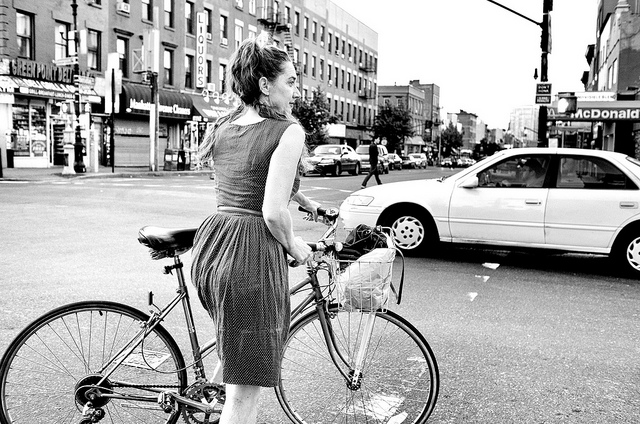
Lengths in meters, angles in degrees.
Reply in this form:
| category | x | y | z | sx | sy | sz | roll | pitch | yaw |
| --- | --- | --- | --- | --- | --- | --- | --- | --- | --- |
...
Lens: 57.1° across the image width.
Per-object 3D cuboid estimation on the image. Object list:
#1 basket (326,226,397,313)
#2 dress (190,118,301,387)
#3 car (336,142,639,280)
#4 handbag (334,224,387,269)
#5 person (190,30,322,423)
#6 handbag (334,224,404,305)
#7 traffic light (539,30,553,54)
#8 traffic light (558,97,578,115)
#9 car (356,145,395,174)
| category | x | y | z | sx | sy | sz | roll | pitch | yaw |
| --- | --- | --- | --- | --- | --- | --- | --- | --- | --- |
| basket | 0.239 | 0.357 | 4.100 | 0.522 | 0.761 | 0.498 | 0 | 0 | -4 |
| dress | -0.492 | 0.232 | 3.630 | 0.623 | 1.615 | 0.362 | 1 | 8 | 1 |
| car | 2.681 | -0.127 | 10.450 | 5.042 | 1.933 | 2.205 | 5 | 6 | 16 |
| handbag | 0.264 | 0.216 | 3.969 | 0.316 | 0.226 | 0.257 | -18 | 25 | 2 |
| person | -0.430 | 0.081 | 3.668 | 0.746 | 2.366 | 0.522 | 1 | 8 | -2 |
| handbag | 0.290 | 0.335 | 3.973 | 0.520 | 0.578 | 0.405 | 1 | 1 | 13 |
| traffic light | 7.212 | -5.448 | 18.760 | 0.322 | 0.748 | 0.458 | 5 | 9 | 26 |
| traffic light | 7.701 | -3.328 | 18.331 | 0.406 | 0.672 | 0.201 | 2 | 5 | 25 |
| car | 4.110 | -3.988 | 43.751 | 1.913 | 1.579 | 3.418 | 0 | 3 | 14 |
